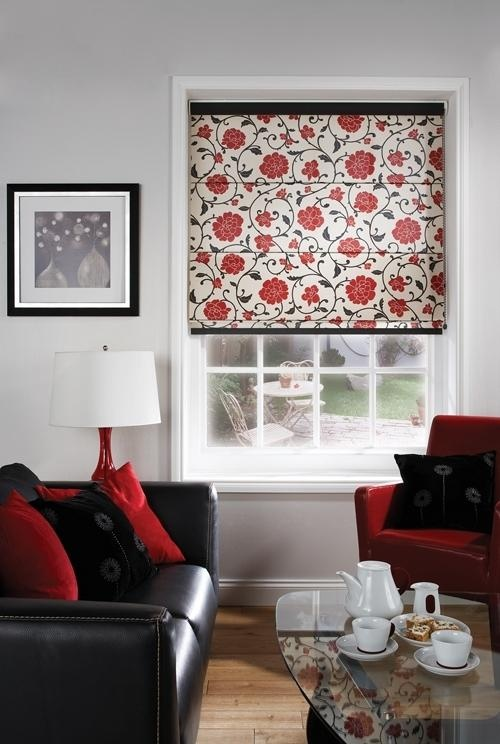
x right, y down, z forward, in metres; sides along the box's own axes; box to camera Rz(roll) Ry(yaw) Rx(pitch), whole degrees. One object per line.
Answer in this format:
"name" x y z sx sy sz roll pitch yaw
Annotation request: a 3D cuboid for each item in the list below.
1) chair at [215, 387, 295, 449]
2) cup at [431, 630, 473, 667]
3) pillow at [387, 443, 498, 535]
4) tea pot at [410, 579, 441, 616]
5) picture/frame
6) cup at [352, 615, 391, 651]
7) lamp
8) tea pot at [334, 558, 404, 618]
"chair" 0.010 0.193 3.266 0.343 0.300 0.219 -10 13 -10
"cup" 0.445 0.595 1.460 0.071 0.047 0.075 -1 -4 0
"pillow" 0.741 0.451 2.508 0.295 0.234 0.105 -1 -11 24
"tea pot" 0.457 0.594 1.754 0.062 0.088 0.085 3 -6 -42
"picture/frame" -0.772 -0.555 2.915 0.606 0.614 0.042 0 3 2
"cup" 0.280 0.597 1.521 0.081 0.050 0.068 8 -11 -40
"lamp" -0.493 0.114 2.390 0.331 0.475 0.336 2 6 16
"tea pot" 0.305 0.538 1.688 0.165 0.116 0.126 6 -10 -31
